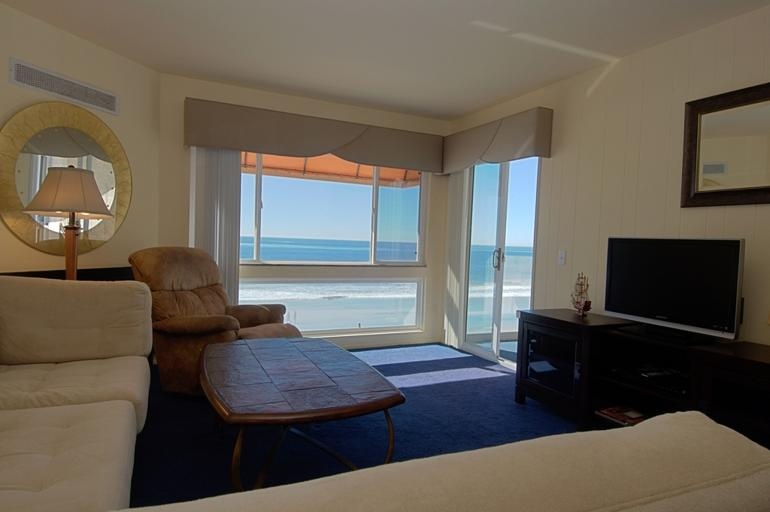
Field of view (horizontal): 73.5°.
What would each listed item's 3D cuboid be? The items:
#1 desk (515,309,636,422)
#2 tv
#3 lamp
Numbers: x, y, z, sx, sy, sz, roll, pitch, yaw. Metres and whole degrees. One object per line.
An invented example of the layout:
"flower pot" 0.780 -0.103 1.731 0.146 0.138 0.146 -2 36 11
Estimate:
"desk" 1.659 0.957 4.479 0.734 0.847 0.932 4 -1 -30
"tv" 2.194 0.246 3.858 0.067 0.594 0.866 5 -3 -29
"lamp" -2.619 -0.264 4.260 0.556 0.924 0.595 -12 18 -33
